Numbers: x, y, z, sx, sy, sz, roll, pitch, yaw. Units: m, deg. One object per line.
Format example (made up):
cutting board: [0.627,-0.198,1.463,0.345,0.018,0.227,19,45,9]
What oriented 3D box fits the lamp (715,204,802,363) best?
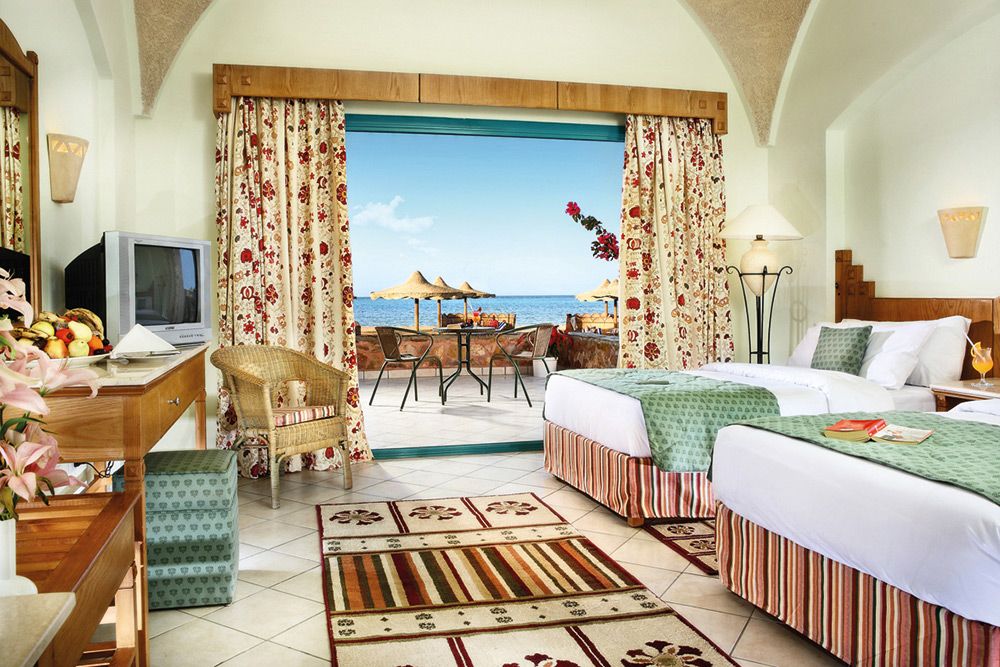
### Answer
lamp: [2.175,-0.383,5.825,0.627,1.363,0.840,2,6,21]

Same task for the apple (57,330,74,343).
apple: [-1.908,0.011,3.009,0.064,0.054,0.050,-12,38,43]

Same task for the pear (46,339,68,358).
pear: [-1.826,0.063,2.816,0.059,0.057,0.059,-11,-29,42]

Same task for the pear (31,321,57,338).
pear: [-1.946,-0.016,2.929,0.076,0.054,0.082,-1,3,7]

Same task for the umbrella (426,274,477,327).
umbrella: [-0.939,-0.675,13.778,1.241,0.968,1.211,-4,6,-42]

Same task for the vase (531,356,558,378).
vase: [0.698,0.523,10.484,0.371,0.259,0.356,-1,4,-21]

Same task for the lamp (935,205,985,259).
lamp: [3.068,-0.663,4.588,0.131,0.338,0.244,-3,6,-20]

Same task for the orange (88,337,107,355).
orange: [-1.836,0.063,3.139,0.065,0.073,0.064,13,30,-5]

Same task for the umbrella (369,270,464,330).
umbrella: [-1.275,-0.660,10.738,1.376,0.760,1.413,-2,5,-19]

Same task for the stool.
stool: [-1.525,0.917,3.533,0.632,0.699,0.830,0,-1,-11]

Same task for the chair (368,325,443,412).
chair: [-1.060,0.354,7.778,0.724,0.836,0.739,-1,1,22]

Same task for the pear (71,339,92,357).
pear: [-1.846,0.069,3.014,0.068,0.063,0.066,23,-12,-15]

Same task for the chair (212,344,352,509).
chair: [-1.563,0.575,4.778,0.801,0.935,0.848,5,3,37]

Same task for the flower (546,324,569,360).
flower: [0.889,0.134,10.720,0.463,0.436,0.443,3,5,12]

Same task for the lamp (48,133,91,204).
lamp: [-2.454,-0.922,3.909,0.175,0.372,0.240,-2,6,-15]

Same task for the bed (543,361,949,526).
bed: [1.318,0.567,4.377,1.380,0.576,1.384,-1,3,-15]

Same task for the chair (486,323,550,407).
chair: [0.266,0.366,8.655,0.866,0.967,0.923,1,2,-32]

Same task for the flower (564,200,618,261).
flower: [1.347,-1.777,10.919,0.273,0.262,0.690,-35,47,-2]
